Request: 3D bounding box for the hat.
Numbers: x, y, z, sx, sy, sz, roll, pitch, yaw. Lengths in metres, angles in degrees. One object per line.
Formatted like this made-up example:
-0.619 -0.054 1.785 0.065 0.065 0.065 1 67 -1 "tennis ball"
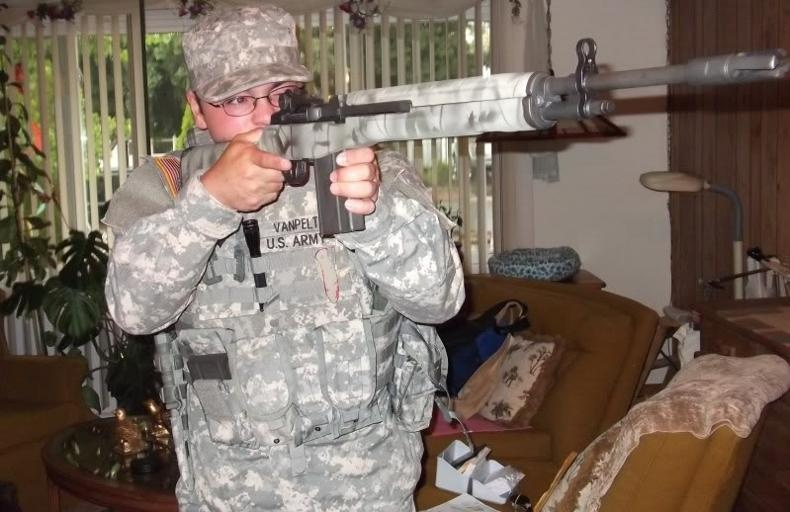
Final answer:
-0.429 -0.568 1.814 0.251 0.176 0.337 -15 18 -24 "hat"
